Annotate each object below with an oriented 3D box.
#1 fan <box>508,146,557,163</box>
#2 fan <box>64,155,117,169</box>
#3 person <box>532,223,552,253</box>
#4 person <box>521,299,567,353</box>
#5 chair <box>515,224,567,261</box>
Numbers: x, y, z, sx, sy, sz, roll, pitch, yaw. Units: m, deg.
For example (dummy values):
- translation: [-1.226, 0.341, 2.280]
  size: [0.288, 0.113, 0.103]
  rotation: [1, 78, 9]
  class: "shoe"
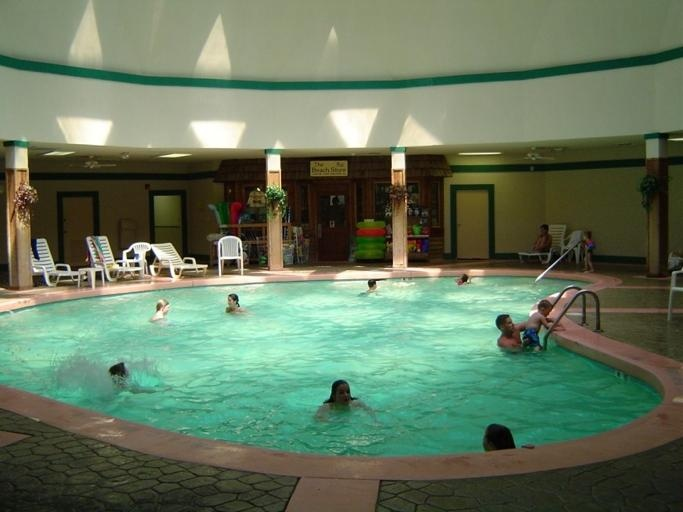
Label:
- translation: [6.886, -3.587, 17.219]
  size: [1.581, 0.346, 2.466]
  rotation: [2, 8, 21]
  class: "fan"
- translation: [-9.020, -3.343, 17.453]
  size: [1.808, 0.353, 3.790]
  rotation: [-5, 8, -29]
  class: "fan"
- translation: [7.129, -0.583, 16.966]
  size: [0.539, 0.987, 0.781]
  rotation: [2, 8, 22]
  class: "person"
- translation: [3.311, 1.271, 7.994]
  size: [0.592, 1.000, 0.359]
  rotation: [-1, 0, -5]
  class: "person"
- translation: [7.330, -0.498, 17.518]
  size: [2.070, 1.366, 1.246]
  rotation: [-1, 2, -35]
  class: "chair"
